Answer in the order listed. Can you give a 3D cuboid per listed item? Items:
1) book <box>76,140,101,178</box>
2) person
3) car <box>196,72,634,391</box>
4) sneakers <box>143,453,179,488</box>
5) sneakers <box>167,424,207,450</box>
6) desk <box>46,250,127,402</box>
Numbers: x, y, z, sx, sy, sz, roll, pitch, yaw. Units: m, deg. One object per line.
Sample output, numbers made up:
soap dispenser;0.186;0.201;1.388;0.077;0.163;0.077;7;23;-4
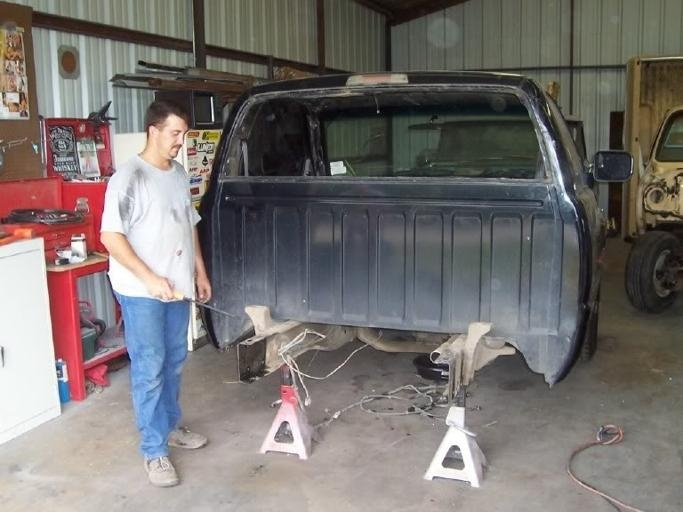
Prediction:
book;-2.551;-0.974;5.781;0.042;0.439;0.304;-6;-15;19
person;-1.211;0.229;3.882;0.555;2.459;0.655;5;14;23
car;0.748;-0.403;5.030;2.066;1.572;2.831;0;13;16
sneakers;-1.201;1.431;3.848;0.112;0.129;0.294;2;-2;-39
sneakers;-1.124;1.328;4.232;0.222;0.100;0.131;2;14;11
desk;-2.175;0.631;4.879;0.404;1.108;1.117;1;5;10
